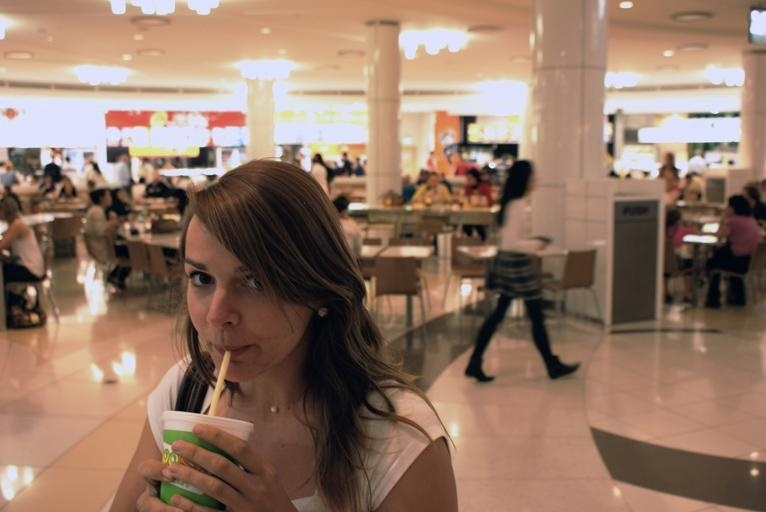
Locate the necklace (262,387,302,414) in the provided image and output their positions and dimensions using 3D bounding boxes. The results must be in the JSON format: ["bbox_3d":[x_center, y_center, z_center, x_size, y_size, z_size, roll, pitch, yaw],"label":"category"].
[{"bbox_3d":[-0.254,0.335,1.491,0.084,0.061,0.063,1,0,9],"label":"necklace"}]

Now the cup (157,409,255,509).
[{"bbox_3d":[-0.402,0.428,1.378,0.200,0.154,0.204,11,-19,4],"label":"cup"}]

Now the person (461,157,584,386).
[{"bbox_3d":[1.071,0.071,4.665,0.857,1.642,0.454,-5,10,-21],"label":"person"}]
